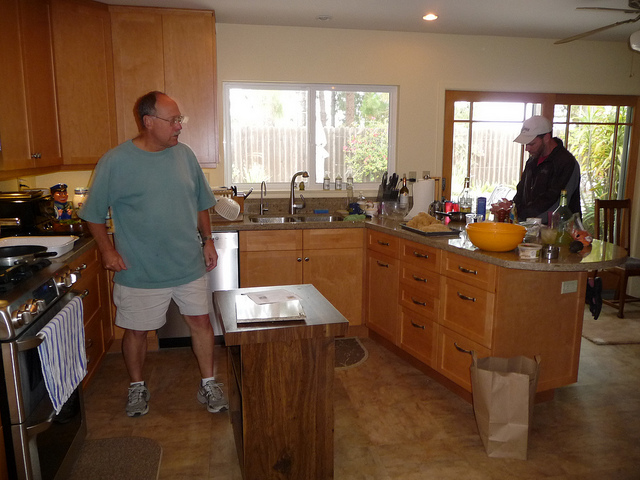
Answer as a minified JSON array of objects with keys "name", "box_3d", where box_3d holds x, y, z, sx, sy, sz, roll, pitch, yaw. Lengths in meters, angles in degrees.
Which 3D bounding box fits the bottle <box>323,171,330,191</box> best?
[{"name":"bottle","box_3d":[0.064,-0.604,4.949,0.067,0.188,0.092,-1,12,1]}]

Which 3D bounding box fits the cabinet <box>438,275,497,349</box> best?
[{"name":"cabinet","box_3d":[1.062,0.444,3.349,0.299,0.386,0.404,-19,25,-41]}]

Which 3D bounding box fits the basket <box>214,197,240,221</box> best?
[{"name":"basket","box_3d":[-0.785,-0.269,4.223,0.186,0.133,0.187,22,23,-32]}]

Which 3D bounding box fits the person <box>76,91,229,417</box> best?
[{"name":"person","box_3d":[-1.084,0.119,3.208,0.816,2.104,0.478,-4,12,-13]}]

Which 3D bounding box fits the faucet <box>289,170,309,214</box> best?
[{"name":"faucet","box_3d":[-0.216,-0.465,4.764,0.182,0.416,0.348,-2,12,-3]}]

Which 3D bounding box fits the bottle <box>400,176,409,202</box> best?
[{"name":"bottle","box_3d":[0.803,-0.499,4.702,0.065,0.235,0.232,0,13,9]}]

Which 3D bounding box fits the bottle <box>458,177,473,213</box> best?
[{"name":"bottle","box_3d":[1.296,-0.407,4.347,0.100,0.318,0.248,2,13,14]}]

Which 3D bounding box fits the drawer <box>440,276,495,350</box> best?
[{"name":"drawer","box_3d":[0.977,0.474,3.287,0.332,0.454,0.473,-1,8,-26]}]

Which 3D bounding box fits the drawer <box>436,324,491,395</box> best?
[{"name":"drawer","box_3d":[0.931,0.819,3.386,0.255,0.371,0.424,2,12,-7]}]

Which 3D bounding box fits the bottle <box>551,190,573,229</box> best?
[{"name":"bottle","box_3d":[1.651,-0.222,3.325,0.112,0.255,0.253,5,14,27]}]

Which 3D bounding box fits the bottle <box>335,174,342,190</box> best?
[{"name":"bottle","box_3d":[0.192,-0.584,4.948,0.079,0.135,0.060,-6,13,-21]}]

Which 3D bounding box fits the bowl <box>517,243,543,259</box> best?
[{"name":"bowl","box_3d":[1.322,0.060,3.077,0.140,0.068,0.205,3,14,21]}]

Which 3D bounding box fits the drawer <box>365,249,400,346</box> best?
[{"name":"drawer","box_3d":[0.529,0.454,4.132,0.259,0.631,0.463,3,12,-2]}]

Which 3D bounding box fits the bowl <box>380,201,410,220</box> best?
[{"name":"bowl","box_3d":[0.712,-0.288,4.616,0.231,0.135,0.278,-1,13,4]}]

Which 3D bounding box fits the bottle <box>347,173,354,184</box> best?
[{"name":"bottle","box_3d":[0.310,-0.621,4.977,0.077,0.136,0.079,0,10,0]}]

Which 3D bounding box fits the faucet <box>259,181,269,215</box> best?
[{"name":"faucet","box_3d":[-0.551,-0.419,4.762,0.090,0.326,0.235,-1,12,4]}]

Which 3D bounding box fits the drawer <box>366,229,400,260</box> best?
[{"name":"drawer","box_3d":[0.602,-0.001,4.161,0.385,0.191,0.250,18,24,41]}]

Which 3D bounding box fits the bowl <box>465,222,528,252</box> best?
[{"name":"bowl","box_3d":[1.152,-0.020,3.209,0.355,0.180,0.185,2,13,17]}]

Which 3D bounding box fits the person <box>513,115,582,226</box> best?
[{"name":"person","box_3d":[1.911,-0.598,4.146,0.543,0.894,0.541,7,15,34]}]

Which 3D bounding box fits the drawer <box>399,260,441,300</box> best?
[{"name":"drawer","box_3d":[0.773,0.276,3.727,0.204,0.142,0.306,1,11,-29]}]

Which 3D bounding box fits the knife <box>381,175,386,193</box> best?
[{"name":"knife","box_3d":[0.641,-0.572,4.914,0.045,0.149,0.025,-3,-2,40]}]
